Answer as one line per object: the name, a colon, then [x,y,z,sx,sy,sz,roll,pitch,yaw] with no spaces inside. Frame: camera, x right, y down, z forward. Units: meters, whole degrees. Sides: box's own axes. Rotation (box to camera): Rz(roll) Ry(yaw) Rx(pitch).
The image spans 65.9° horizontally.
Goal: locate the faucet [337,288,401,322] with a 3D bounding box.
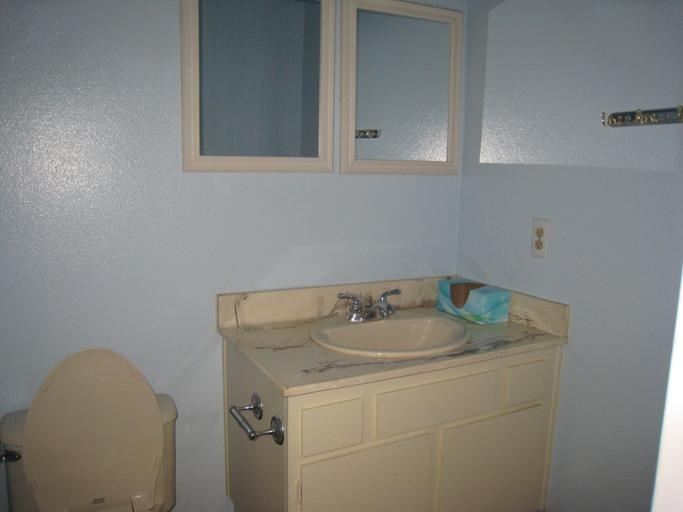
faucet: [0.126,0.210,2.318,0.265,0.132,0.099,-3,17,-3]
